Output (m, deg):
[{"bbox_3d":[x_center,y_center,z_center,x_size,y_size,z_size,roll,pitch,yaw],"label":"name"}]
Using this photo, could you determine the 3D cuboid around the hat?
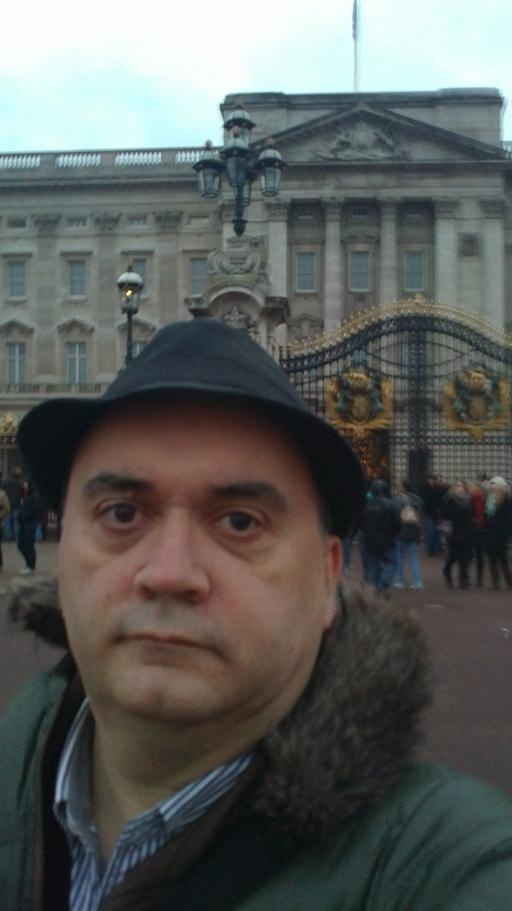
[{"bbox_3d":[-0.066,0.047,1.460,0.366,0.221,0.395,-8,-35,24],"label":"hat"}]

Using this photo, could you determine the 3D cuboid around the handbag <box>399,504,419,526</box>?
[{"bbox_3d":[1.666,0.679,10.949,0.235,0.125,0.321,-1,38,0],"label":"handbag"}]
